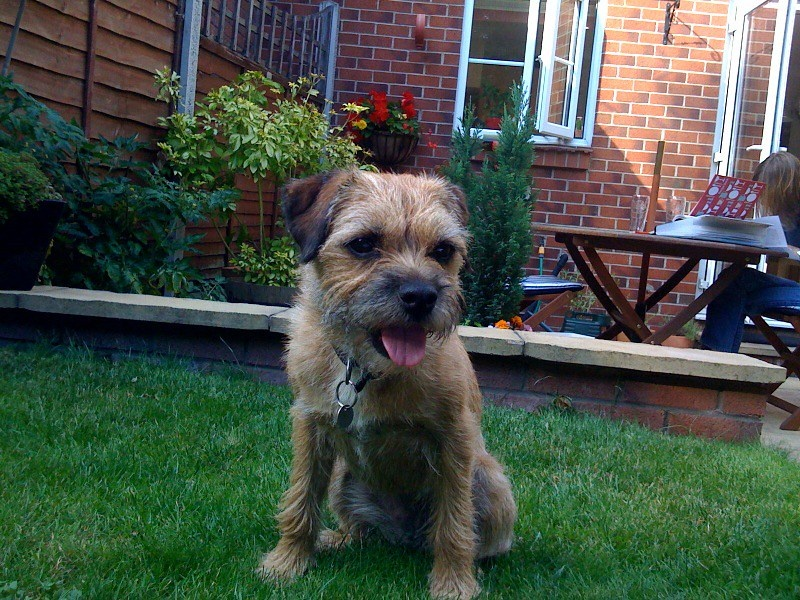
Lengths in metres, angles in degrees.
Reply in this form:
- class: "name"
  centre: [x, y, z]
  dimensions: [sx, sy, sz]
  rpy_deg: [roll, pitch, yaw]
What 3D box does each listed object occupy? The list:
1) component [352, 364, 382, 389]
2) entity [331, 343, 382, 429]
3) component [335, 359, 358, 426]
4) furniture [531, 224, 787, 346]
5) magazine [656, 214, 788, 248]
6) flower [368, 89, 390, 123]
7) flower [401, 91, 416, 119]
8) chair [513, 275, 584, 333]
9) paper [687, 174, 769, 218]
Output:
- class: "component"
  centre: [-0.148, 0.328, 2.854]
  dimensions: [0.084, 0.118, 0.045]
  rpy_deg: [12, 18, -10]
- class: "entity"
  centre: [-0.231, 0.360, 2.823]
  dimensions: [0.182, 0.299, 0.150]
  rpy_deg: [37, -20, -10]
- class: "component"
  centre: [-0.226, 0.390, 2.837]
  dimensions: [0.094, 0.271, 0.101]
  rpy_deg: [2, 9, -9]
- class: "furniture"
  centre: [1.992, -0.239, 5.532]
  dimensions: [1.604, 0.809, 1.304]
  rpy_deg: [0, 4, -38]
- class: "magazine"
  centre: [2.486, -0.509, 5.072]
  dimensions: [0.575, 0.217, 0.450]
  rpy_deg: [6, 3, -14]
- class: "flower"
  centre: [-0.245, -2.337, 8.209]
  dimensions: [0.233, 0.397, 0.416]
  rpy_deg: [3, 9, -2]
- class: "flower"
  centre: [0.112, -2.381, 8.277]
  dimensions: [0.282, 0.309, 0.142]
  rpy_deg: [-4, -8, -2]
- class: "chair"
  centre: [1.479, 0.162, 6.611]
  dimensions: [0.557, 0.407, 0.780]
  rpy_deg: [-2, 3, 3]
- class: "paper"
  centre: [2.391, -0.744, 4.901]
  dimensions: [0.412, 0.298, 0.350]
  rpy_deg: [7, 10, 21]
